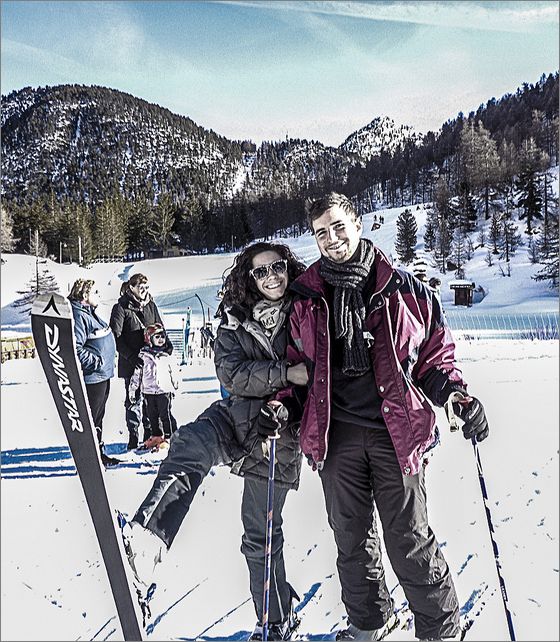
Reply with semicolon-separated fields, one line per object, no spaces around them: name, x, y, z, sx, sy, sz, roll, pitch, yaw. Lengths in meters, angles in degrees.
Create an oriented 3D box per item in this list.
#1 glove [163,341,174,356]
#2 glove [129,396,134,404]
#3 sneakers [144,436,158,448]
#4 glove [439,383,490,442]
glove;-1.119;0.266;6.515;0.072;0.119;0.126;-12;53;-28
glove;-1.512;0.795;6.617;0.046;0.071;0.015;-4;4;-15
sneakers;-1.364;1.264;6.909;0.133;0.134;0.087;2;6;25
glove;0.946;0.441;3.301;0.143;0.371;0.129;-14;-3;12
